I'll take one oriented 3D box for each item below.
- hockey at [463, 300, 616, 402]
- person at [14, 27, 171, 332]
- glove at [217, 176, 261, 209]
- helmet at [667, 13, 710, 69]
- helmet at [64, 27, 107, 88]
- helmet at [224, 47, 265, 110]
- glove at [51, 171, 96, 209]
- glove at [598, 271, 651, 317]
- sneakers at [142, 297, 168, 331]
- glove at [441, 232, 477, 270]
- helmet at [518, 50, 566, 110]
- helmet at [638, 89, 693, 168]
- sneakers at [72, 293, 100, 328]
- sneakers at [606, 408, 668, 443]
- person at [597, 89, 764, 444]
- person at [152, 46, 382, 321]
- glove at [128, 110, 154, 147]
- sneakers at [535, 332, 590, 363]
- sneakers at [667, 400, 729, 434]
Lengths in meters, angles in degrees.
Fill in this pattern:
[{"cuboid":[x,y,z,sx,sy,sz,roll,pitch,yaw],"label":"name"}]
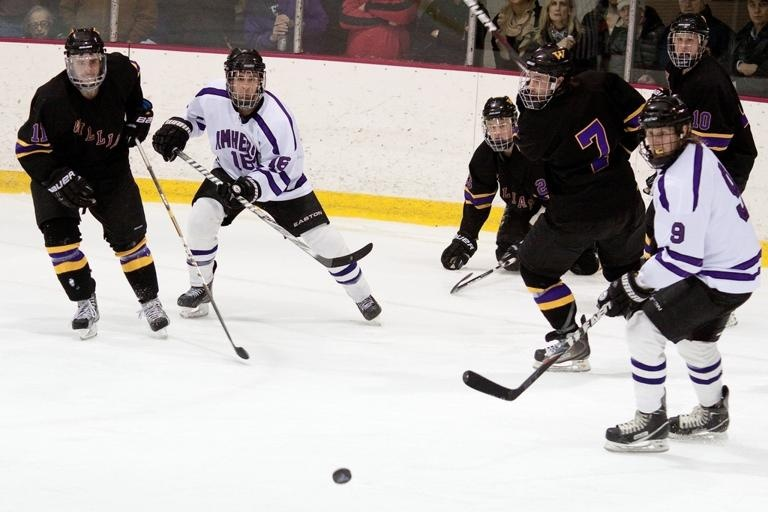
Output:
[{"cuboid":[0.916,0.577,4.698,0.755,0.055,0.146,-38,47,0],"label":"hockey"},{"cuboid":[-1.737,-0.432,4.820,0.802,1.790,0.610,-10,21,-32],"label":"person"},{"cuboid":[-0.917,-0.382,4.943,0.220,0.221,0.221,-13,22,-39],"label":"glove"},{"cuboid":[2.032,-1.447,5.338,0.259,0.305,0.342,9,23,34],"label":"helmet"},{"cuboid":[-1.727,-1.138,4.681,0.281,0.348,0.348,-8,46,-18],"label":"helmet"},{"cuboid":[-0.875,-1.099,5.001,0.283,0.325,0.359,1,1,-12],"label":"helmet"},{"cuboid":[-1.767,-0.385,4.656,0.260,0.183,0.110,36,19,1],"label":"glove"},{"cuboid":[1.176,0.198,3.947,0.098,0.242,0.169,35,28,-35],"label":"glove"},{"cuboid":[-1.434,0.358,4.994,0.104,0.113,0.284,-41,28,0],"label":"sneakers"},{"cuboid":[0.571,-0.084,6.384,0.108,0.218,0.265,-39,9,39],"label":"glove"},{"cuboid":[0.891,-0.972,4.356,0.354,0.297,0.246,-12,26,-23],"label":"helmet"},{"cuboid":[1.338,-0.601,3.801,0.272,0.291,0.233,-20,12,-40],"label":"helmet"},{"cuboid":[-1.801,0.350,4.842,0.106,0.109,0.251,-4,15,-5],"label":"sneakers"},{"cuboid":[1.210,0.825,3.880,0.400,0.162,0.127,2,8,-23],"label":"sneakers"},{"cuboid":[1.415,0.099,3.807,0.709,1.663,0.508,4,18,7],"label":"person"},{"cuboid":[-0.808,-0.437,5.153,1.363,1.713,0.570,1,18,-2],"label":"person"},{"cuboid":[-1.533,-0.799,5.040,0.167,0.207,0.074,20,1,-15],"label":"glove"},{"cuboid":[0.983,0.516,4.554,0.377,0.217,0.113,-1,4,-14],"label":"sneakers"},{"cuboid":[1.543,0.796,4.011,0.400,0.157,0.128,-4,18,19],"label":"sneakers"}]
